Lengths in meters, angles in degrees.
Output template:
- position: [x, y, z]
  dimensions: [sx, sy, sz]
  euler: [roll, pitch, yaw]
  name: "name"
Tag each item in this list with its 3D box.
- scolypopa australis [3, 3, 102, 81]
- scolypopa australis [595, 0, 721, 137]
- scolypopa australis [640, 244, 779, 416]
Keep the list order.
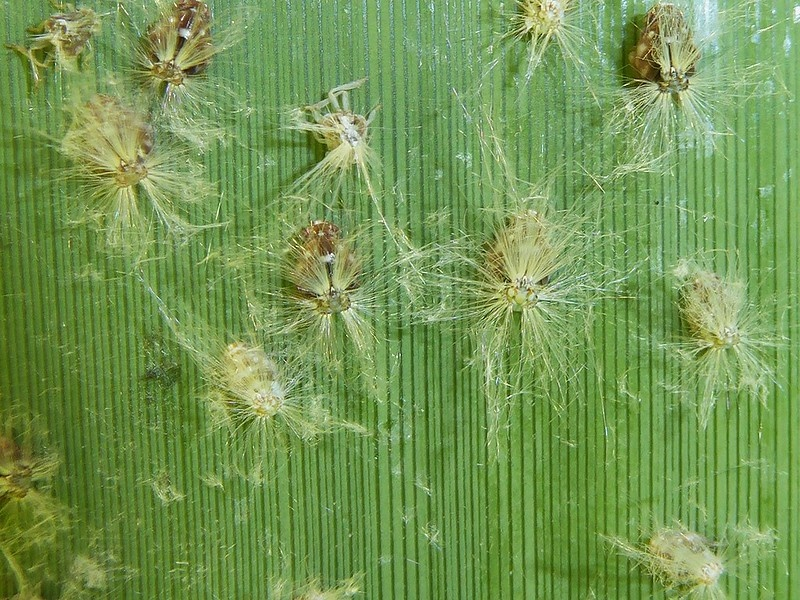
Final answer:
- position: [-1.311, -0.993, 3.855]
  dimensions: [0.313, 0.105, 0.248]
  euler: [-39, 93, 2]
  name: "scolypopa australis"
- position: [1.024, -0.865, 3.989]
  dimensions: [0.336, 0.192, 0.531]
  euler: [-1, 94, -1]
  name: "scolypopa australis"
- position: [1.239, 0.102, 4.045]
  dimensions: [0.384, 0.231, 0.660]
  euler: [-2, 98, -5]
  name: "scolypopa australis"
